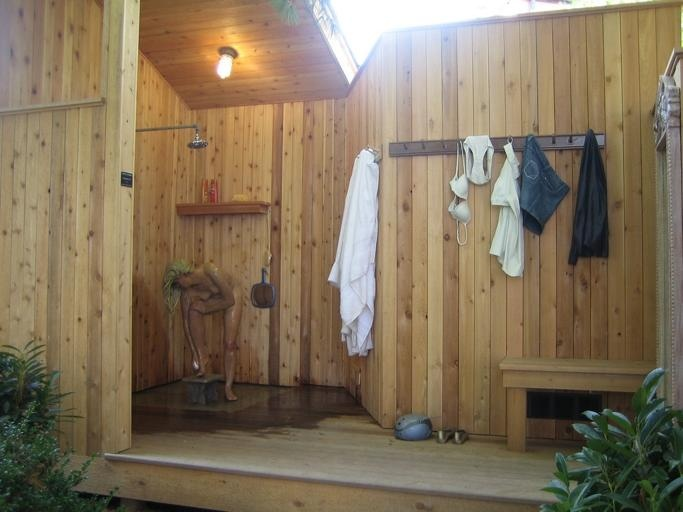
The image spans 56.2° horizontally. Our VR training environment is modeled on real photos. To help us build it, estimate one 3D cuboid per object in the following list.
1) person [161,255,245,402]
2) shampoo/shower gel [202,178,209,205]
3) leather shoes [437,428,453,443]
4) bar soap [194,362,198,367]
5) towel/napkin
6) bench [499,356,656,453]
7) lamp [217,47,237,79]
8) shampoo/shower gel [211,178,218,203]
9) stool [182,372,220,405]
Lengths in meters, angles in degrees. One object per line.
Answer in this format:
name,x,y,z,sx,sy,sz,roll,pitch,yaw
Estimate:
person,-1.514,0.800,7.017,0.801,1.647,0.575,-5,18,-18
shampoo/shower gel,-1.622,-0.767,7.540,0.070,0.277,0.247,0,4,-13
leather shoes,0.875,1.514,5.422,0.058,0.085,0.205,3,5,34
bar soap,-1.503,1.125,6.601,0.050,0.054,0.040,0,4,-9
towel/napkin,0.149,-0.029,6.063,0.347,1.980,0.498,0,3,-12
bench,1.860,1.226,5.295,1.114,0.710,0.298,1,3,6
lamp,-1.239,-2.089,6.854,0.197,0.265,0.203,15,-23,-34
shampoo/shower gel,-1.502,-0.765,7.487,0.086,0.268,0.200,0,4,-10
stool,-1.417,1.342,6.479,0.266,0.224,0.298,1,-4,3
